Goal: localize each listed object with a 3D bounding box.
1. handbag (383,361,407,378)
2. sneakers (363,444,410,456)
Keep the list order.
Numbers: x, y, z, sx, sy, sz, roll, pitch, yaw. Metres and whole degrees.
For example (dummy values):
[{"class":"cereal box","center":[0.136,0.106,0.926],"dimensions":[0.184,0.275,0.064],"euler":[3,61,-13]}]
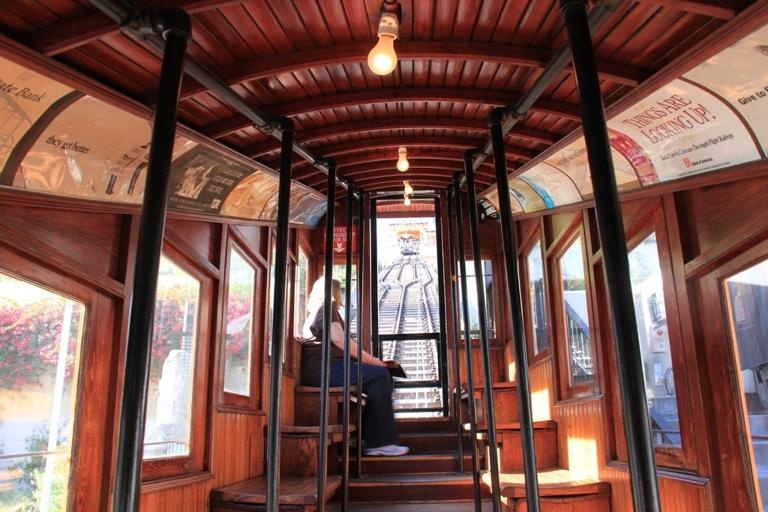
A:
[{"class":"handbag","center":[0.177,1.736,7.409],"dimensions":[0.284,0.096,0.390],"euler":[24,-16,-7]},{"class":"sneakers","center":[0.045,2.596,6.436],"dimensions":[0.353,0.105,0.217],"euler":[1,-6,-12]}]
